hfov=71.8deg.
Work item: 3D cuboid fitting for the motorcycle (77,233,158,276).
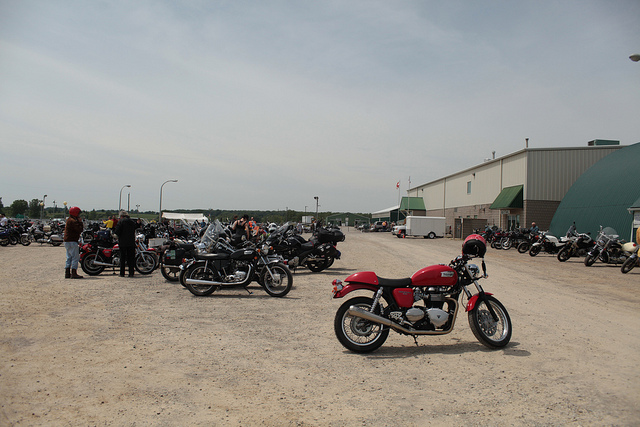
[{"bbox_3d":[-7.377,1.420,16.088,2.619,1.505,1.506,4,-9,-37],"label":"motorcycle"}]

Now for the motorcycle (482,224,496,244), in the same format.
[{"bbox_3d":[12.499,1.508,32.810,0.975,1.137,1.820,5,17,34],"label":"motorcycle"}]

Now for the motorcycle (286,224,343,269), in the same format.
[{"bbox_3d":[-0.057,1.209,17.057,2.277,1.418,1.207,5,2,3],"label":"motorcycle"}]

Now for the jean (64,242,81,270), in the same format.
[{"bbox_3d":[-8.336,1.393,14.860,0.406,0.860,0.479,-4,8,-30],"label":"jean"}]

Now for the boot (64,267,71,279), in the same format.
[{"bbox_3d":[-8.367,1.962,14.633,0.174,0.311,0.419,-3,7,-27],"label":"boot"}]

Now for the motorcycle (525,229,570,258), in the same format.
[{"bbox_3d":[12.848,1.683,24.705,2.528,1.435,1.171,2,-1,-4],"label":"motorcycle"}]

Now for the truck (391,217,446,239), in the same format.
[{"bbox_3d":[11.522,1.564,50.713,4.289,2.090,2.727,-1,0,1],"label":"truck"}]

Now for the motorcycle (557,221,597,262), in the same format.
[{"bbox_3d":[13.034,1.449,22.191,2.722,1.726,1.396,-2,11,-17],"label":"motorcycle"}]

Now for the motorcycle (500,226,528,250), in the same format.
[{"bbox_3d":[13.838,1.824,30.965,1.886,1.170,1.091,6,9,-24],"label":"motorcycle"}]

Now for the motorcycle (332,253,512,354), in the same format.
[{"bbox_3d":[1.934,1.671,9.117,3.509,1.959,1.602,-3,1,-7],"label":"motorcycle"}]

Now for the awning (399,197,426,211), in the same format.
[{"bbox_3d":[17.747,-1.914,84.551,3.775,2.217,3.806,3,9,0],"label":"awning"}]

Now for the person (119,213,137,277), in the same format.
[{"bbox_3d":[-6.643,1.086,15.205,0.525,2.249,0.583,-3,8,-24],"label":"person"}]

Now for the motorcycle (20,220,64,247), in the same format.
[{"bbox_3d":[-18.774,1.303,30.019,3.175,1.746,1.092,2,6,1],"label":"motorcycle"}]

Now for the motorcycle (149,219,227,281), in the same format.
[{"bbox_3d":[-4.254,1.347,15.265,2.875,1.832,1.512,4,-8,-41],"label":"motorcycle"}]

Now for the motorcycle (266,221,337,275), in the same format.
[{"bbox_3d":[-0.876,1.316,16.684,3.165,1.902,1.239,1,11,-23],"label":"motorcycle"}]

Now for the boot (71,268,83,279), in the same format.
[{"bbox_3d":[-8.142,1.973,14.763,0.328,0.328,0.243,-3,8,-29],"label":"boot"}]

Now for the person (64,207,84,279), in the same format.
[{"bbox_3d":[-8.339,0.954,14.912,0.616,2.372,1.058,-4,8,-28],"label":"person"}]
